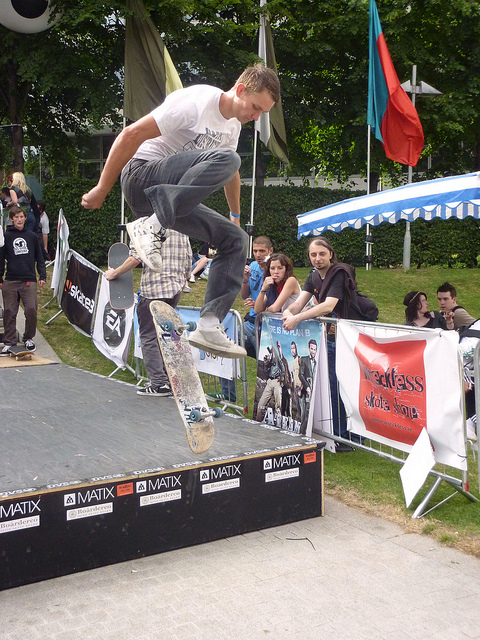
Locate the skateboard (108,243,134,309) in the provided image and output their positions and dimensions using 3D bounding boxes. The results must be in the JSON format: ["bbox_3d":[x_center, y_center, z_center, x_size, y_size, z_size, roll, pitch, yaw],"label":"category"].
[{"bbox_3d":[-1.369,-0.489,7.994,0.278,0.744,0.451,0,9,-12],"label":"skateboard"}]

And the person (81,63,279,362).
[{"bbox_3d":[-0.233,-0.641,3.785,0.806,1.454,0.904,-6,-26,43],"label":"person"}]

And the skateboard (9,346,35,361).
[{"bbox_3d":[-2.715,0.404,8.584,0.263,0.137,0.468,-1,9,-20],"label":"skateboard"}]

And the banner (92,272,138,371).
[{"bbox_3d":[-1.521,-0.063,8.491,0.441,0.235,1.701,1,40,-7],"label":"banner"}]

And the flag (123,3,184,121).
[{"bbox_3d":[-1.799,-5.054,14.171,1.093,2.106,1.068,1,9,-9],"label":"flag"}]

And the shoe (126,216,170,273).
[{"bbox_3d":[-0.484,-0.381,3.585,0.188,0.284,0.244,0,9,-14],"label":"shoe"}]

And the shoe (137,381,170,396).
[{"bbox_3d":[-0.740,0.569,5.908,0.280,0.136,0.097,5,-2,-8],"label":"shoe"}]

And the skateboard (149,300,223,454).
[{"bbox_3d":[-0.305,0.294,3.792,0.317,0.779,0.401,-4,11,-36],"label":"skateboard"}]

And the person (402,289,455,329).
[{"bbox_3d":[2.127,-0.118,7.851,0.707,0.253,0.309,16,-2,-17],"label":"person"}]

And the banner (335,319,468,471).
[{"bbox_3d":[1.052,0.478,4.911,0.118,0.918,1.474,-2,2,-22],"label":"banner"}]

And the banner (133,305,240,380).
[{"bbox_3d":[-0.523,0.236,7.029,1.427,0.873,0.108,7,6,38],"label":"banner"}]

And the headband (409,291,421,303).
[{"bbox_3d":[1.727,-0.221,6.890,0.014,0.123,0.018,33,8,-16],"label":"headband"}]

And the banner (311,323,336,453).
[{"bbox_3d":[0.660,0.450,5.419,0.156,0.856,0.264,3,9,5],"label":"banner"}]

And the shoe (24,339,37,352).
[{"bbox_3d":[-2.730,0.312,9.024,0.098,0.110,0.292,-6,13,-28],"label":"shoe"}]

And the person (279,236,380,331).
[{"bbox_3d":[0.735,-0.296,5.733,0.703,0.729,0.936,6,10,25],"label":"person"}]

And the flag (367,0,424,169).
[{"bbox_3d":[3.403,-5.326,15.616,0.990,3.765,1.976,0,9,-13],"label":"flag"}]
